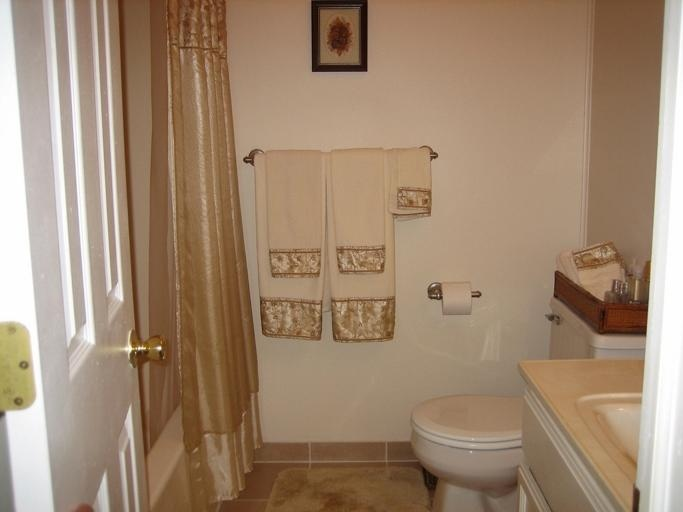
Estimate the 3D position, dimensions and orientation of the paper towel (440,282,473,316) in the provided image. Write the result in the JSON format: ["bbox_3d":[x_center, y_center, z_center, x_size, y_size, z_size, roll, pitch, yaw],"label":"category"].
[{"bbox_3d":[0.466,0.174,2.437,0.128,0.136,0.110,2,6,6],"label":"paper towel"}]

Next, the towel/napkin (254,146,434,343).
[{"bbox_3d":[-0.006,-0.074,2.412,0.677,0.819,0.146,0,3,-1],"label":"towel/napkin"}]
